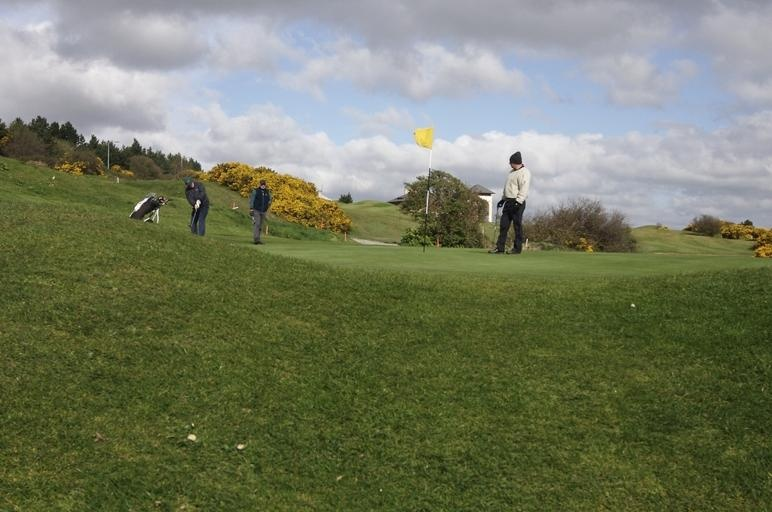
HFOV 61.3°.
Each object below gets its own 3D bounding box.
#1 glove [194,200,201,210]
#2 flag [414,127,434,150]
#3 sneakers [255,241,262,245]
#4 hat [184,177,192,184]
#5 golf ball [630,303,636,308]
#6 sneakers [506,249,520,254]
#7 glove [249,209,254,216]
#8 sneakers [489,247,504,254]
[{"bbox_3d":[-6.030,-1.660,20.808,0.180,0.253,0.074,-4,-14,39],"label":"glove"},{"bbox_3d":[1.419,-4.419,24.326,0.573,0.728,1.195,6,2,-3],"label":"flag"},{"bbox_3d":[-4.399,-0.462,22.343,0.268,0.118,0.099,-3,-2,42],"label":"sneakers"},{"bbox_3d":[-6.231,-2.359,20.453,0.215,0.216,0.245,6,21,-13],"label":"hat"},{"bbox_3d":[5.609,1.117,14.818,0.120,0.105,0.174,7,2,22],"label":"golf ball"},{"bbox_3d":[3.827,-0.146,19.488,0.113,0.159,0.367,6,1,-24],"label":"sneakers"},{"bbox_3d":[-4.794,-1.566,23.363,0.217,0.367,0.226,1,6,-11],"label":"glove"},{"bbox_3d":[3.354,-0.161,19.788,0.477,0.211,0.179,3,-4,3],"label":"sneakers"}]
